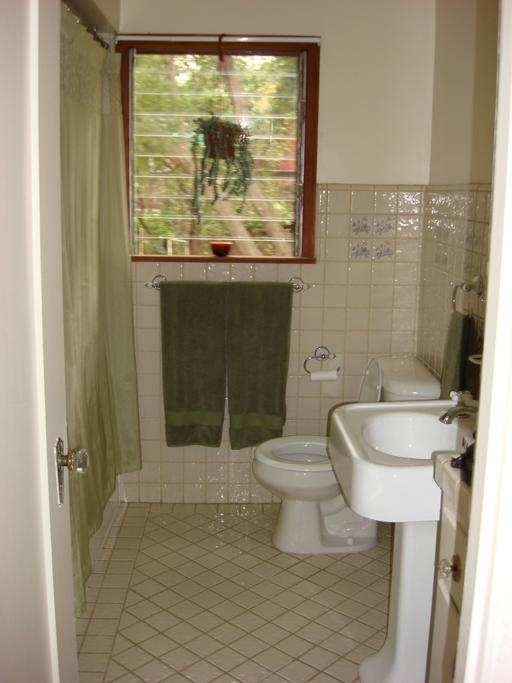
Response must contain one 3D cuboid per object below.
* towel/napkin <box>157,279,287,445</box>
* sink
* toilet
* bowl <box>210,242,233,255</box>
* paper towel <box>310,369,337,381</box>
[{"bbox_3d":[-0.153,0.080,2.745,0.774,1.028,0.106,0,10,-2],"label":"towel/napkin"},{"bbox_3d":[0.368,0.309,1.510,0.359,0.122,0.502,-1,17,0],"label":"sink"},{"bbox_3d":[0.379,0.519,2.658,0.797,0.881,0.502,0,9,-2],"label":"toilet"},{"bbox_3d":[-0.174,-0.458,2.865,0.074,0.048,0.075,-1,9,0],"label":"bowl"},{"bbox_3d":[0.334,0.160,2.810,0.095,0.053,0.036,-2,7,1],"label":"paper towel"}]
